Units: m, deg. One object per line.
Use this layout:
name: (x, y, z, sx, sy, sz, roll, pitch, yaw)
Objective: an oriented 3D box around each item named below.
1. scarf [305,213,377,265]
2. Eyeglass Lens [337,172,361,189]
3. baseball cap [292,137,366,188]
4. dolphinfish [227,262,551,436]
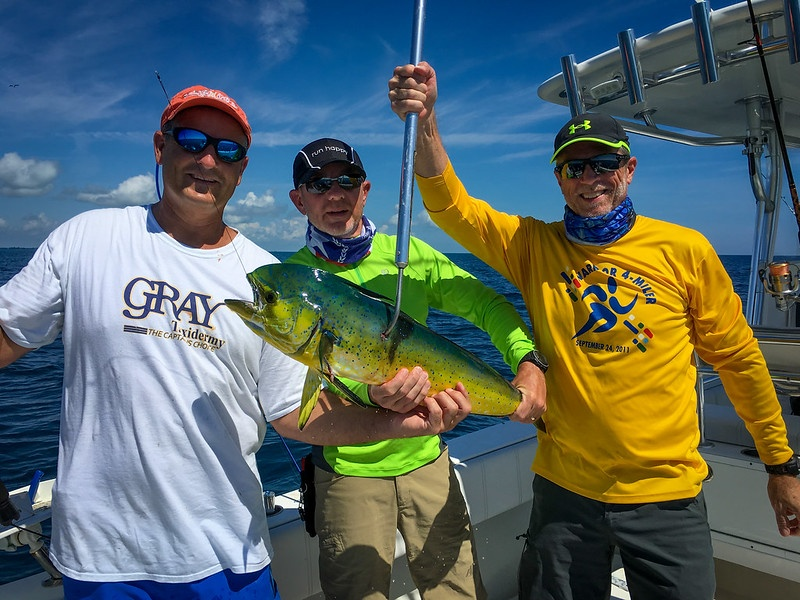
scarf: (-0.305, -0.346, 3.589, 0.404, 0.171, 0.315, -3, 32, -16)
Eyeglass Lens: (-0.266, -0.622, 3.383, 0.094, 0.039, 0.093, -4, -5, -7)
baseball cap: (-0.393, -0.781, 3.494, 0.339, 0.201, 0.425, -10, 4, -19)
dolphinfish: (-0.058, 0.298, 2.762, 1.422, 0.625, 0.362, 22, 12, 3)
